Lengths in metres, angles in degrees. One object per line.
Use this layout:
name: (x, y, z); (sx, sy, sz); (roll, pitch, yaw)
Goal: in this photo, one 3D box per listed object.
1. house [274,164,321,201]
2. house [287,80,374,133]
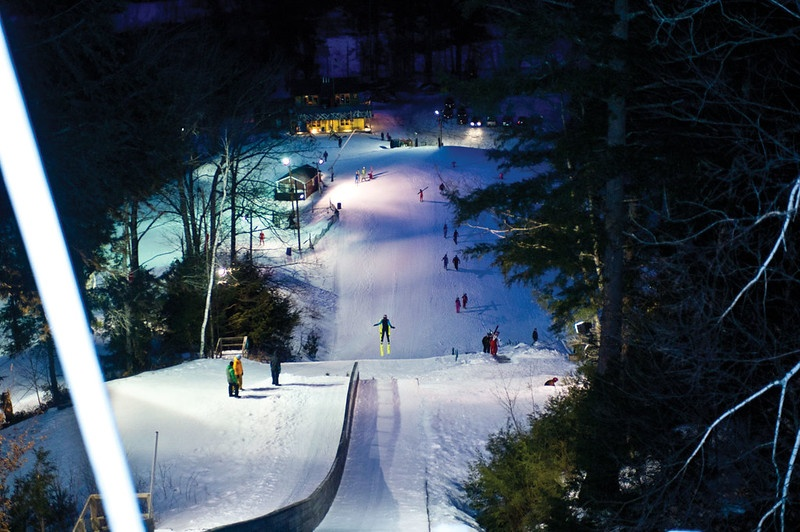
house: (-9.386, -7.495, 74.012); (4.089, 2.352, 7.040); (-1, 19, 8)
house: (-9.425, -20.853, 108.068); (10.341, 5.698, 10.376); (-9, 18, -21)
